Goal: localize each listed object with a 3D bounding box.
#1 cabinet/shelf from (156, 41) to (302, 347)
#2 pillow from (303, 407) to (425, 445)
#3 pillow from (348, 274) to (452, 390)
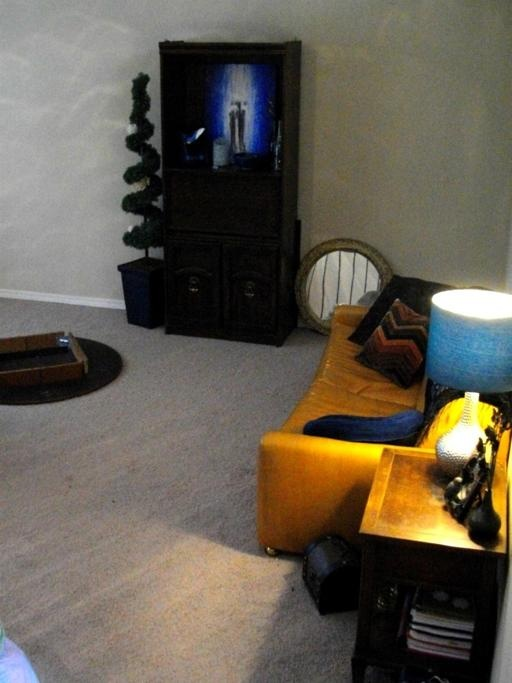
[{"bbox_3d":[-0.145,-1.162,4.850,1.205,2.273,0.675,7,20,16],"label":"cabinet/shelf"},{"bbox_3d":[0.435,0.337,2.188,0.495,0.139,0.212,-1,17,-4],"label":"pillow"},{"bbox_3d":[0.909,-0.074,3.432,0.574,0.645,0.197,25,4,42],"label":"pillow"}]
